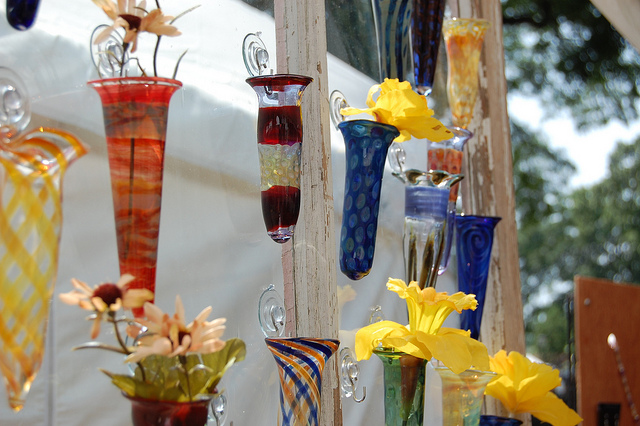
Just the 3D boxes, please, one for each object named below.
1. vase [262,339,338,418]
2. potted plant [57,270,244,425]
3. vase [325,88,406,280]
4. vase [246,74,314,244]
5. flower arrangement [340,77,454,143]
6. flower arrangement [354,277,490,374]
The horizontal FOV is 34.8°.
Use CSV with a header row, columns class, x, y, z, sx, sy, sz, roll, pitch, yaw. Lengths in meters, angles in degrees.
class,x,y,z,sx,sy,sz,roll,pitch,yaw
vase,-0.044,0.418,2.664,0.169,0.243,0.187,1,-8,6
potted plant,-0.399,0.345,2.518,0.358,0.411,0.388,2,-6,-16
vase,0.147,-0.053,2.830,0.201,0.406,0.151,-8,-15,18
vase,-0.100,-0.147,2.707,0.167,0.409,0.193,-2,-14,-4
flower arrangement,0.241,-0.279,2.852,0.195,0.117,0.213,14,-2,9
flower arrangement,0.283,0.322,2.783,0.262,0.179,0.271,13,-16,-27
